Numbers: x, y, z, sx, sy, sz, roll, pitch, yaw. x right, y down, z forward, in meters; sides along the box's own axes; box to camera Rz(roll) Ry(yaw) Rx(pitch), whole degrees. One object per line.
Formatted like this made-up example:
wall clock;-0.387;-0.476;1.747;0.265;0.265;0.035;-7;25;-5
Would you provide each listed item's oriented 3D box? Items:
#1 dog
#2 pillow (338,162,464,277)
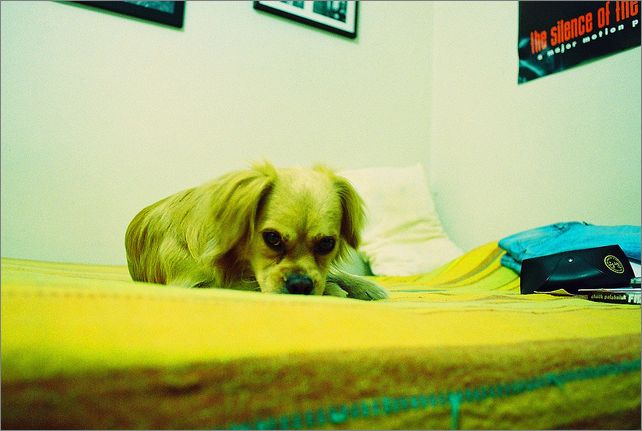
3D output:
dog;-0.349;0.091;2.773;0.961;0.402;0.793;-8;-10;44
pillow;0.594;0.030;4.216;0.779;0.869;0.252;-3;-24;-30
